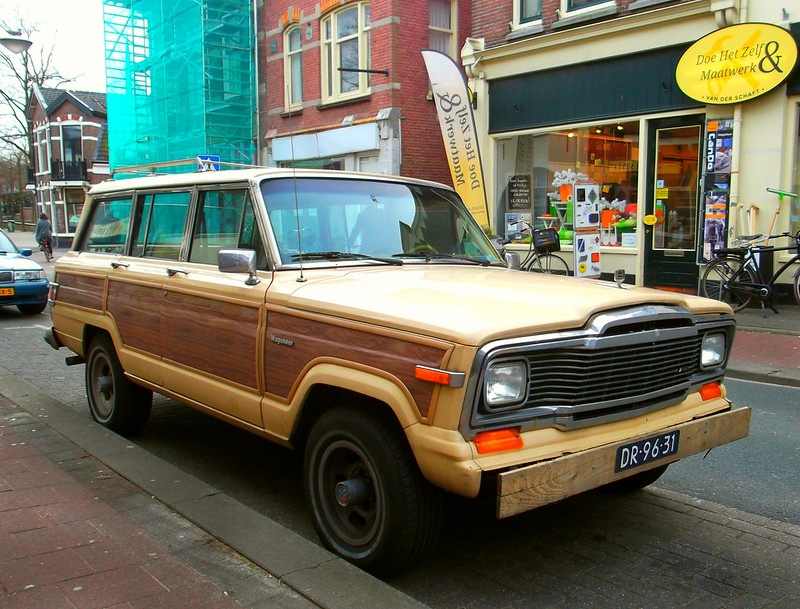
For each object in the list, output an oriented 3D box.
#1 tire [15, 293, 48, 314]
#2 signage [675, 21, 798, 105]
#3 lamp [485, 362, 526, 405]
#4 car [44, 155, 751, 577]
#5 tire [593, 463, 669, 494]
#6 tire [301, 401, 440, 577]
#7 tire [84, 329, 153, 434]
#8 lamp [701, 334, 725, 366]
[{"bbox_3d":[-8.167,-0.051,12.679,0.547,0.464,0.182,1,1,2],"label":"tire"},{"bbox_3d":[6.833,-4.820,11.447,0.294,1.404,2.201,2,4,-44],"label":"signage"},{"bbox_3d":[0.492,0.359,2.631,0.235,0.175,0.085,-8,-15,37],"label":"lamp"},{"bbox_3d":[-0.527,0.143,4.571,5.078,1.804,2.564,5,7,44],"label":"car"},{"bbox_3d":[1.655,1.244,4.033,0.409,0.117,0.398,-2,-1,-30],"label":"tire"},{"bbox_3d":[-0.188,0.989,3.116,0.344,0.861,0.943,2,-20,-40],"label":"tire"},{"bbox_3d":[-2.478,0.675,5.069,0.360,0.983,1.109,4,-4,-44],"label":"tire"},{"bbox_3d":[1.969,0.278,3.612,0.156,0.178,0.072,-12,23,-33],"label":"lamp"}]
